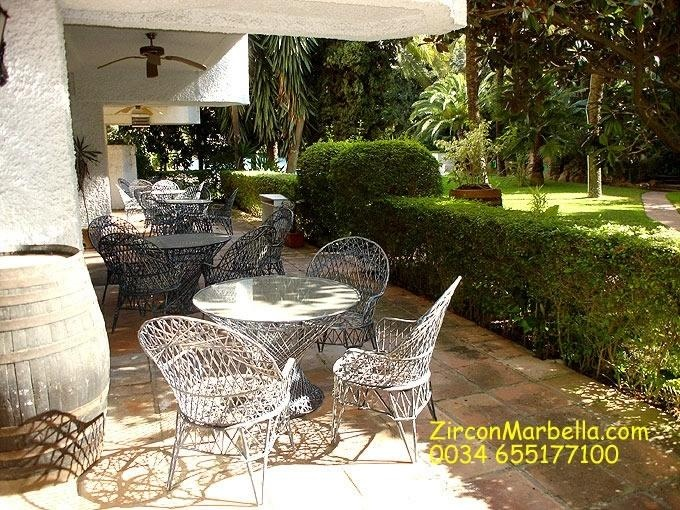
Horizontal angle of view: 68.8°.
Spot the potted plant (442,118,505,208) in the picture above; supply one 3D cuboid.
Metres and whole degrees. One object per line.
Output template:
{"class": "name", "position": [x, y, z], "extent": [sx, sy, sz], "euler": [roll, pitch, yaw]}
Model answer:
{"class": "potted plant", "position": [2.418, -1.695, 9.200], "extent": [0.999, 1.479, 1.360], "euler": [0, 10, 12]}

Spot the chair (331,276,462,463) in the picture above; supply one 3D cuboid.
{"class": "chair", "position": [0.378, 0.648, 3.905], "extent": [1.147, 1.644, 0.944], "euler": [4, 9, 17]}

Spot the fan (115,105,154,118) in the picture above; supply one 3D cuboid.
{"class": "fan", "position": [-5.574, -3.937, 13.573], "extent": [0.863, 0.276, 0.882], "euler": [1, 9, 43]}

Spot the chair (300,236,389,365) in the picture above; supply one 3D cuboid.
{"class": "chair", "position": [-0.112, 0.366, 4.903], "extent": [0.963, 1.426, 0.988], "euler": [2, 2, 22]}
